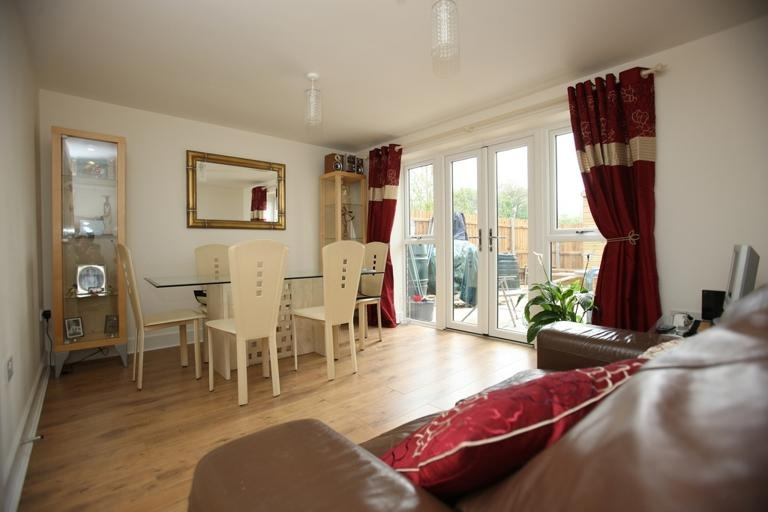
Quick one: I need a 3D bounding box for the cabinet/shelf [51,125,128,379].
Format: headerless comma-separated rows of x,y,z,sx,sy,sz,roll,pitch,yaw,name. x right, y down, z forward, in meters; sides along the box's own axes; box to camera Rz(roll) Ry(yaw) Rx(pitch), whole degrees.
-3.072,-0.072,5.003,0.697,2.512,0.606,-2,20,-36,cabinet/shelf

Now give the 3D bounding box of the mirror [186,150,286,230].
-1.823,-0.776,5.950,1.251,0.913,0.046,0,0,-39,mirror

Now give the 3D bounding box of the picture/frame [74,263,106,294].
-2.962,0.230,4.750,0.303,0.424,0.042,0,-2,-44,picture/frame

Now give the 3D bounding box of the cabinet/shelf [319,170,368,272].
-0.552,-0.443,6.708,0.553,1.267,0.367,-8,13,-36,cabinet/shelf

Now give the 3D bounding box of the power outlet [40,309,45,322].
-3.284,0.572,4.557,0.016,0.080,0.118,1,-1,-20,power outlet

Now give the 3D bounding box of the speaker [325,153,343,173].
-0.697,-1.281,6.594,0.258,0.256,0.297,-1,12,-3,speaker

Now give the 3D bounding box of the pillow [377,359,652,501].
0.664,0.803,2.365,1.093,0.270,1.023,-8,-21,-35,pillow
